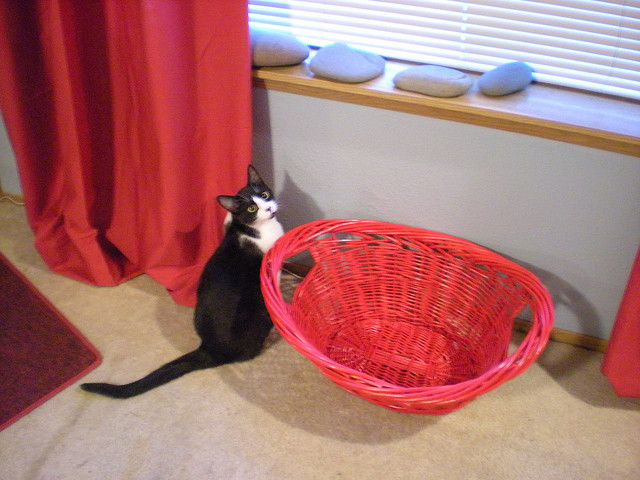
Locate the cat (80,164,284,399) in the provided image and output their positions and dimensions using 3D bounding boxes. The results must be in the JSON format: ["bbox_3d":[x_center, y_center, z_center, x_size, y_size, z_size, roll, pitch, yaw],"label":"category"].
[{"bbox_3d":[-0.332,0.158,1.569,0.297,0.529,0.709,31,46,27],"label":"cat"}]

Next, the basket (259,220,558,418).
[{"bbox_3d":[0.219,0.243,1.577,0.782,0.344,0.631,-1,39,-8],"label":"basket"}]
